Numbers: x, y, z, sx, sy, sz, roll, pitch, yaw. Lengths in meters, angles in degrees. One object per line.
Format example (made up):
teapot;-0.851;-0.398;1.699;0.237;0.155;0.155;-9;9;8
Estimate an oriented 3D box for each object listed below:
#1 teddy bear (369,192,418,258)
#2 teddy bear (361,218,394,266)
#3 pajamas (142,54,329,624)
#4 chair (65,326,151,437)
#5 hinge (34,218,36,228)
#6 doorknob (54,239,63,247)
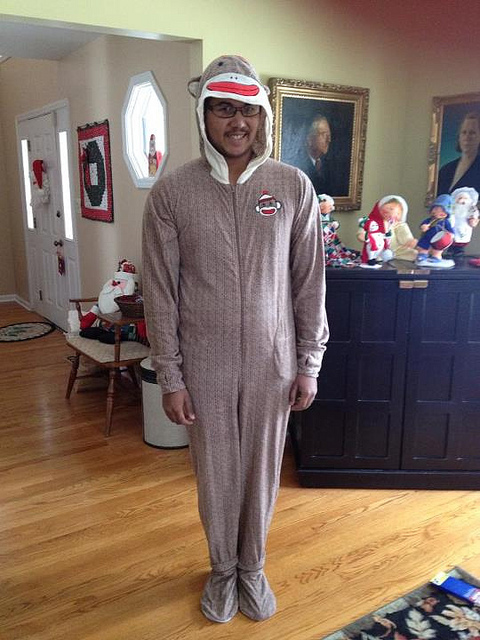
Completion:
teddy bear;0.718;-0.442;2.454;0.266;0.314;0.142;-1;37;14
teddy bear;0.574;-0.341;2.297;0.111;0.189;0.191;9;18;26
pajamas;-0.007;0.133;1.458;0.491;1.571;0.197;1;17;0
chair;-0.806;0.377;3.274;0.481;0.632;0.472;21;20;40
hinge;-2.126;-1.014;5.550;0.010;0.098;0.045;-10;20;-33
doorknob;-1.679;-0.708;4.955;0.080;0.069;0.032;15;-7;10
